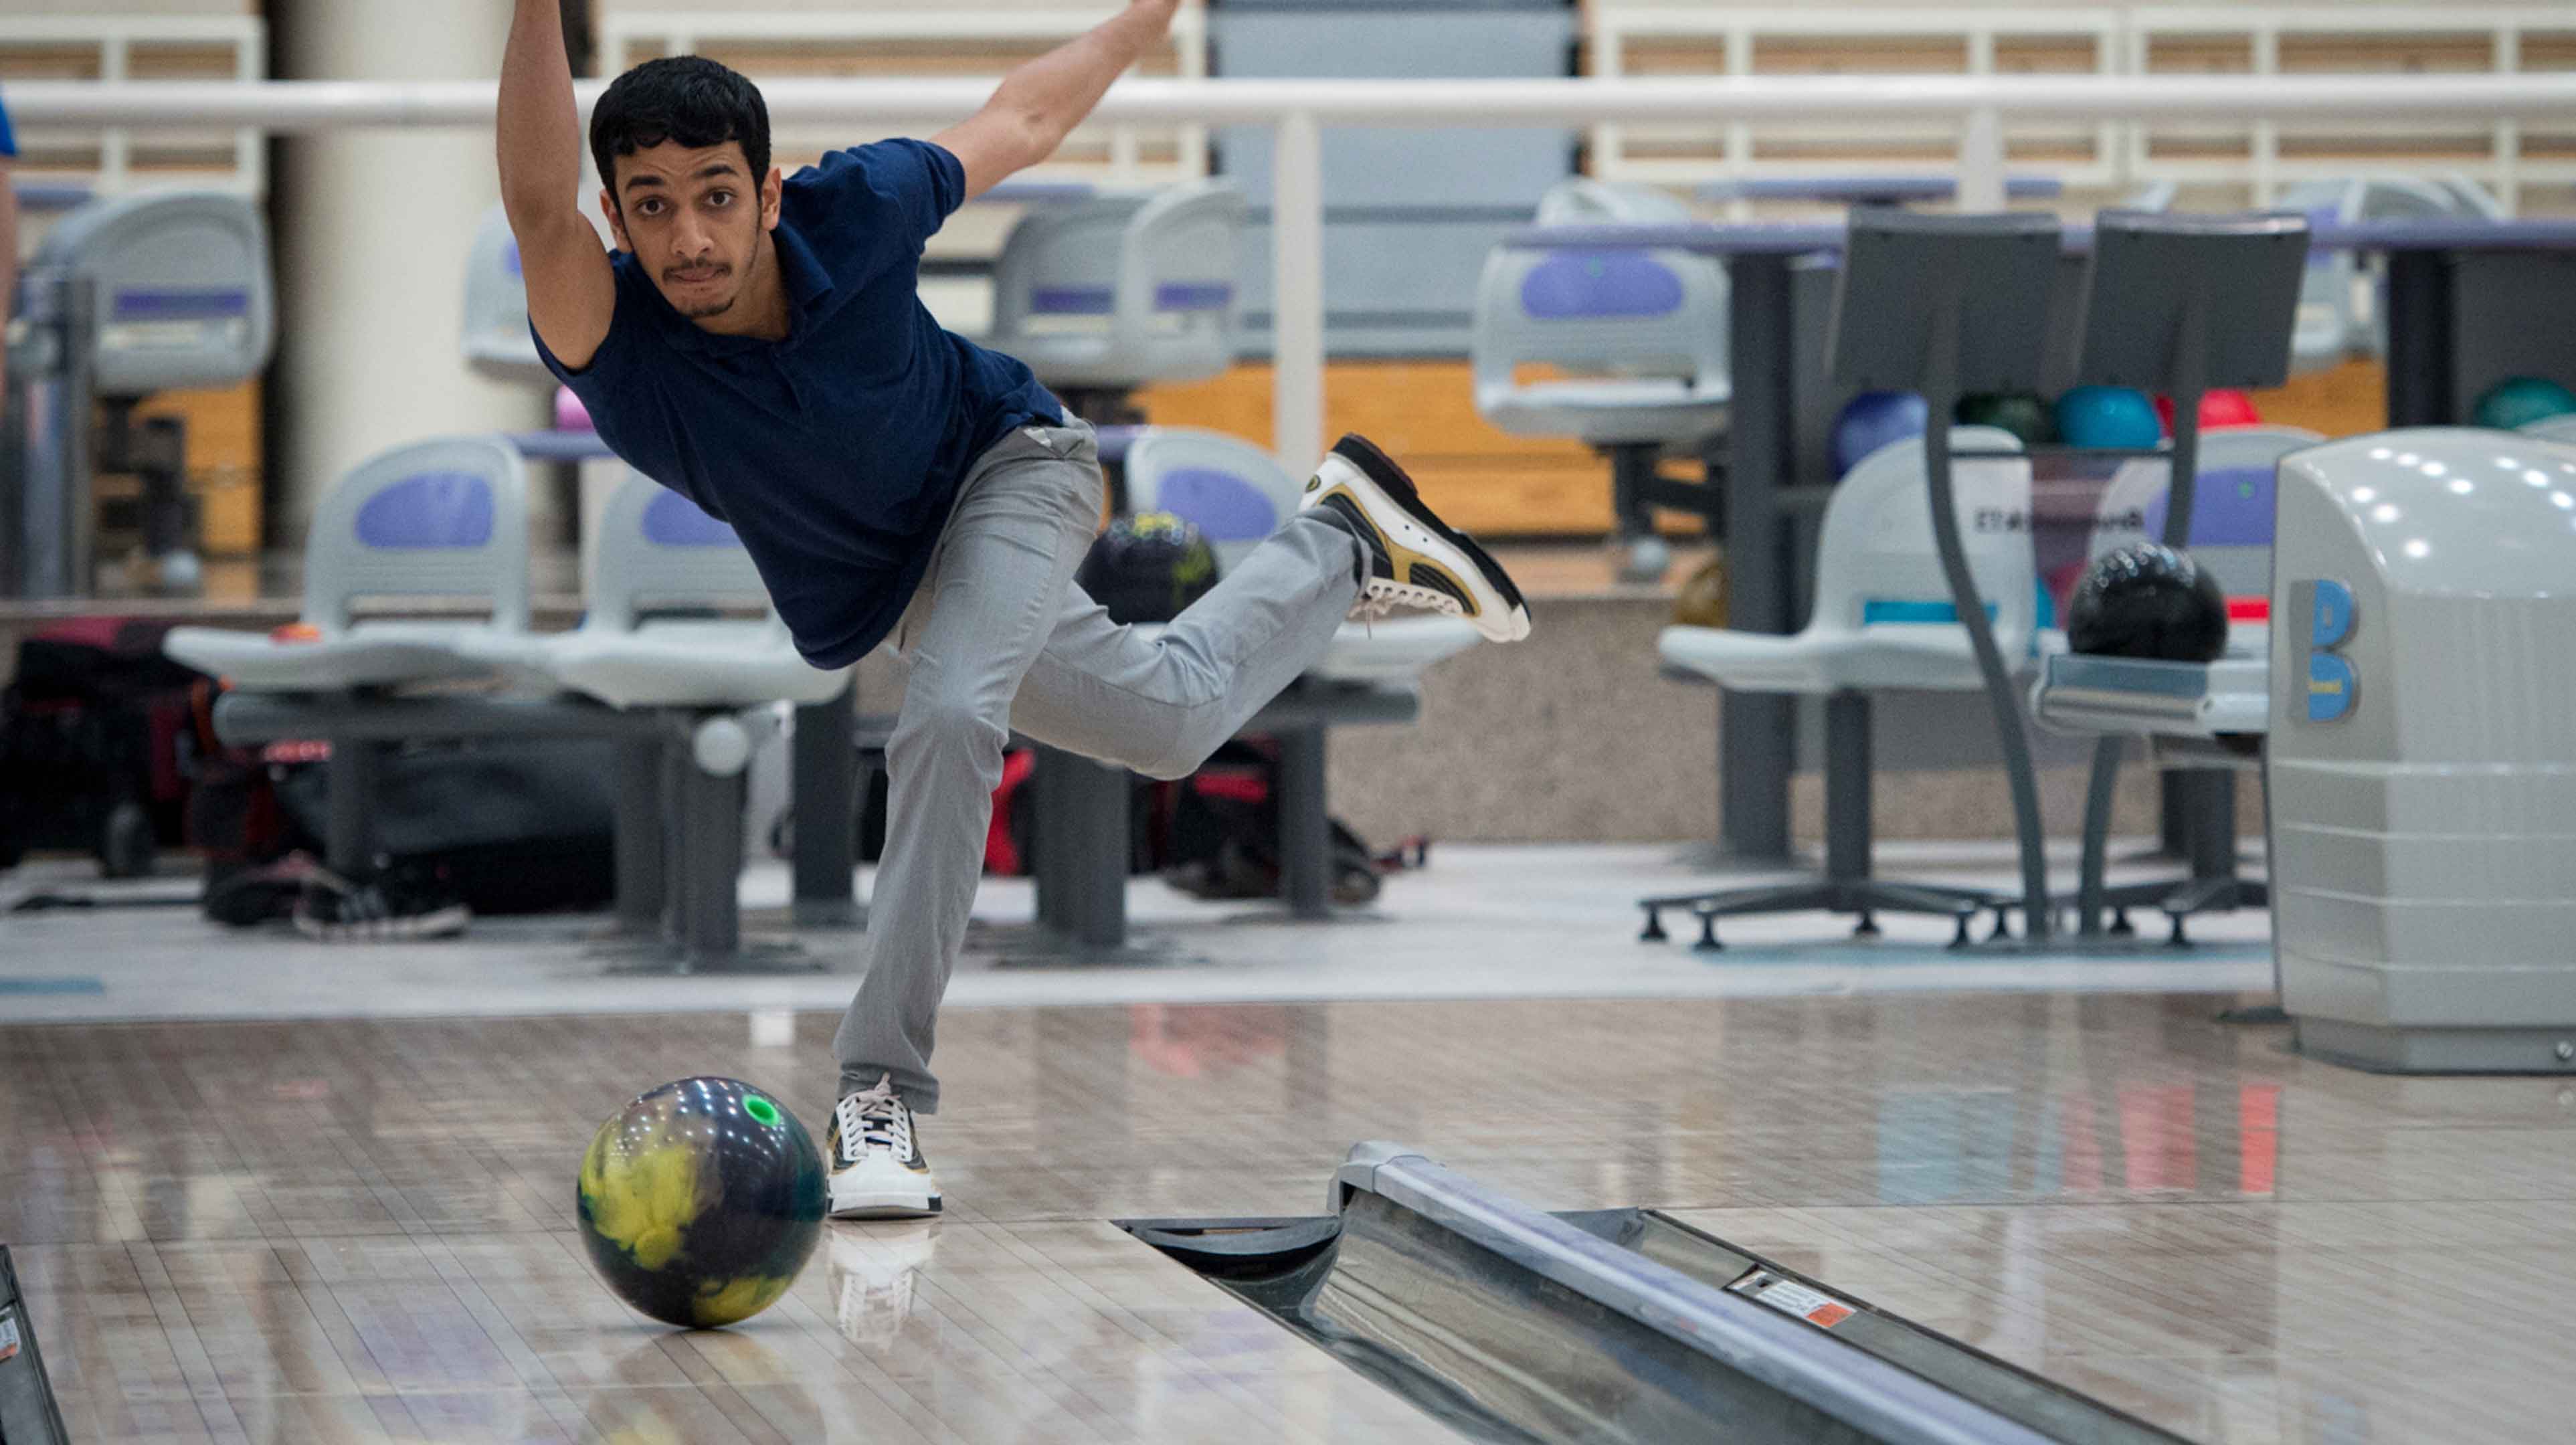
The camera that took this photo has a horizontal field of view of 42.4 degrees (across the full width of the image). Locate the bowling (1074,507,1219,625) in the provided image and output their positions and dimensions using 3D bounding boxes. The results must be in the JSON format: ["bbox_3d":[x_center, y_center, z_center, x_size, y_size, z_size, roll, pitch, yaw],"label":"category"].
[{"bbox_3d":[-0.346,-0.382,8.430,0.303,0.206,0.351,24,11,29],"label":"bowling"}]

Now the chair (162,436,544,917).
[{"bbox_3d":[-2.351,-0.103,8.420,0.769,1.416,0.687,-2,-7,28],"label":"chair"}]

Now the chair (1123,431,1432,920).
[{"bbox_3d":[-0.051,-0.134,8.943,1.020,1.253,1.143,1,-3,-9],"label":"chair"}]

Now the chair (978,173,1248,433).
[{"bbox_3d":[-0.448,-1.148,9.442,0.679,0.848,0.655,2,1,6],"label":"chair"}]

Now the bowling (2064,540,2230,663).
[{"bbox_3d":[2.066,-0.293,7.965,0.361,0.279,0.198,-1,2,13],"label":"bowling"}]

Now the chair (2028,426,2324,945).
[{"bbox_3d":[2.235,-0.107,8.351,0.658,1.288,1.459,-1,3,17],"label":"chair"}]

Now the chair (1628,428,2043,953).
[{"bbox_3d":[1.441,-0.104,8.550,0.956,1.274,0.656,-1,2,12],"label":"chair"}]

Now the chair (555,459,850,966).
[{"bbox_3d":[-1.475,-0.044,8.349,0.623,1.287,0.923,1,5,-14],"label":"chair"}]

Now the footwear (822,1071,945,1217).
[{"bbox_3d":[-0.789,0.832,6.511,0.233,0.274,0.614,0,-4,-10],"label":"footwear"}]

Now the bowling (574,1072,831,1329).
[{"bbox_3d":[-1.071,0.870,6.118,0.474,0.517,0.475,0,-7,-5],"label":"bowling"}]

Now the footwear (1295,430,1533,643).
[{"bbox_3d":[0.283,-0.438,7.791,0.205,0.616,0.269,-35,17,47],"label":"footwear"}]
